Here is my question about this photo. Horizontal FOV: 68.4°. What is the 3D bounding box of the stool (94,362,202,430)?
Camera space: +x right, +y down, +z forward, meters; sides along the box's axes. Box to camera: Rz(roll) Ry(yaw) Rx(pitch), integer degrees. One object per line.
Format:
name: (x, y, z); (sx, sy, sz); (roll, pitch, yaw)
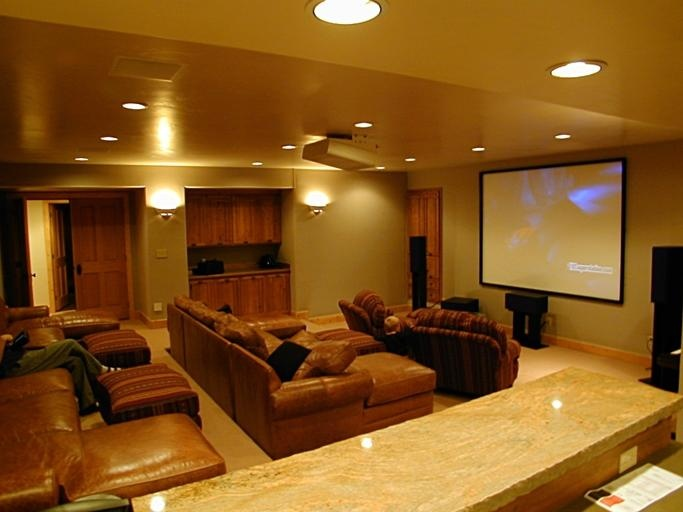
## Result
stool: (-1.657, 1.194, 4.394); (0.673, 0.317, 0.654); (-3, 10, -32)

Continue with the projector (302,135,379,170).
projector: (0.014, -1.122, 5.418); (0.714, 0.297, 0.522); (-6, 3, -35)

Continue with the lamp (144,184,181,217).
lamp: (-2.771, -0.868, 7.912); (0.464, 0.434, 0.447); (2, 7, 6)

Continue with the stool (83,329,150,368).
stool: (-2.597, 1.025, 5.761); (0.495, 0.248, 0.504); (-2, 9, -36)

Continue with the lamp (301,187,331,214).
lamp: (-0.463, -0.923, 8.845); (0.551, 0.533, 0.367); (0, 3, -16)
